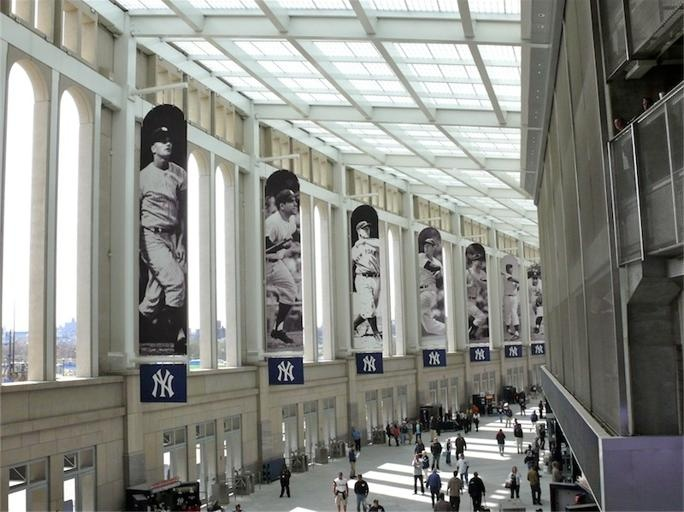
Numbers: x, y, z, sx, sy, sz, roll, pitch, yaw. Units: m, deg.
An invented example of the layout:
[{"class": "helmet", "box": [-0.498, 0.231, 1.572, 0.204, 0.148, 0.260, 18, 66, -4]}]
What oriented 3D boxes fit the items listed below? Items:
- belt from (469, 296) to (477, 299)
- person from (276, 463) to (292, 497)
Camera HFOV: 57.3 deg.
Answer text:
[{"class": "belt", "box": [8.036, 2.586, 38.759, 0.292, 0.118, 0.222, 0, -3, -21]}, {"class": "person", "box": [-2.189, 8.471, 23.560, 0.431, 1.128, 1.000, -2, -11, -5]}]
